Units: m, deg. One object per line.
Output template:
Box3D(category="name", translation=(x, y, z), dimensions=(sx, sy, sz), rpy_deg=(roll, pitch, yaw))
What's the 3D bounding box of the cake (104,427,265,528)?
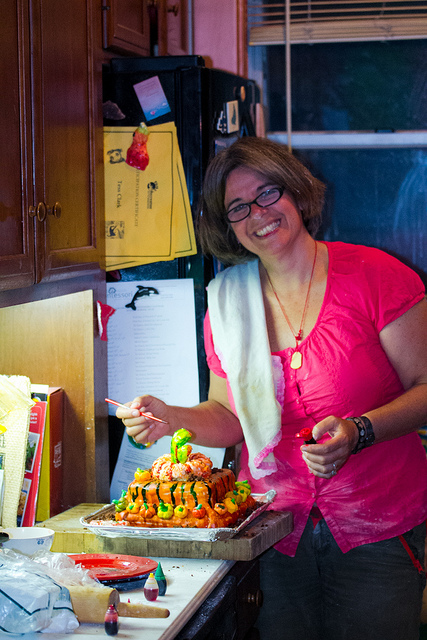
Box3D(category="cake", translation=(-0.053, 0.254, 1.097), dimensions=(0.226, 0.135, 0.231), rpy_deg=(-1, 0, 30))
